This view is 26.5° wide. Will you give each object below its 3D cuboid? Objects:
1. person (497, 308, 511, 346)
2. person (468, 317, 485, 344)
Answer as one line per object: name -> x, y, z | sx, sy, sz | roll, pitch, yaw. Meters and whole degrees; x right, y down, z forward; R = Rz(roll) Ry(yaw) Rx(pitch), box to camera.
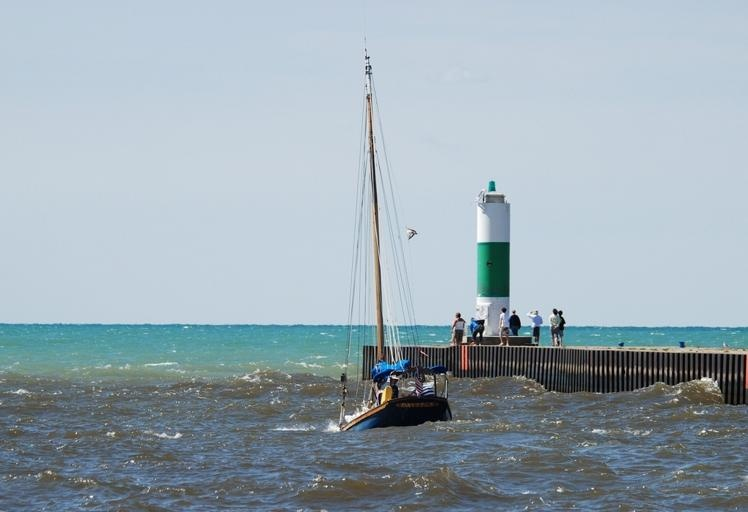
person -> 6.358, 3.423, 78.010 | 0.492, 1.848, 1.382 | 2, -1, 5
person -> 5.105, 3.685, 78.775 | 0.592, 1.286, 1.116 | 3, -1, -11
